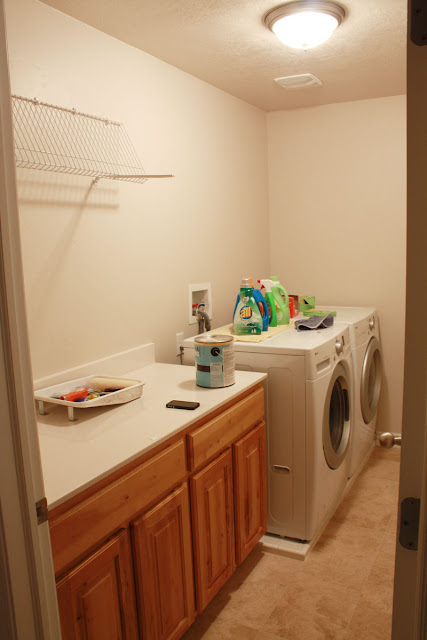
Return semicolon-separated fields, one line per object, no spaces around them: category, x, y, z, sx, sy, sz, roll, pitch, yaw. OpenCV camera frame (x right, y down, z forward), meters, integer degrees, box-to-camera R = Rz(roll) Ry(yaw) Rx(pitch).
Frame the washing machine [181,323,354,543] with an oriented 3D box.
washing machine;0.397;0.484;2.687;0.806;1.319;0.848;2;10;24

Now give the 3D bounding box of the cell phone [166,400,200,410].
cell phone;-0.100;0.281;1.561;0.112;0.016;0.072;1;7;22

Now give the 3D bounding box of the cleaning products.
cleaning products;0.270;-0.071;2.407;0.203;0.382;0.336;0;0;42
